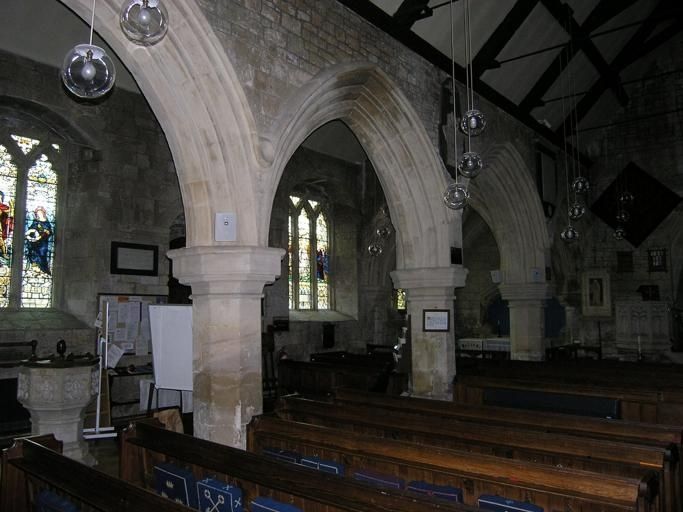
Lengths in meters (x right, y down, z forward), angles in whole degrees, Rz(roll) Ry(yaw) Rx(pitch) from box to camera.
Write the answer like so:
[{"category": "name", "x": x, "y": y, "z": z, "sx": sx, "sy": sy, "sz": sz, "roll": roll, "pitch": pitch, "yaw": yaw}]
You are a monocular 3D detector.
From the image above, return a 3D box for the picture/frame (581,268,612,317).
[{"category": "picture/frame", "x": 6.296, "y": 0.890, "z": 13.976, "sx": 0.652, "sy": 1.111, "sz": 0.264, "roll": -3, "pitch": -6, "yaw": 25}]

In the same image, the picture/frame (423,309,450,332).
[{"category": "picture/frame", "x": 1.333, "y": 0.883, "z": 7.905, "sx": 0.363, "sy": 0.318, "sz": 0.092, "roll": -2, "pitch": -6, "yaw": 9}]

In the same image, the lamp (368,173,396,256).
[{"category": "lamp", "x": 0.926, "y": -1.038, "z": 13.286, "sx": 0.652, "sy": 2.073, "sz": 2.113, "roll": -1, "pitch": -6, "yaw": 3}]

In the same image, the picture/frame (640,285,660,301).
[{"category": "picture/frame", "x": 7.533, "y": 0.877, "z": 13.769, "sx": 0.237, "sy": 0.268, "sz": 0.187, "roll": -5, "pitch": -26, "yaw": 14}]

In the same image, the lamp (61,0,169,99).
[{"category": "lamp", "x": -1.508, "y": -1.402, "z": 3.822, "sx": 0.661, "sy": 0.634, "sz": 0.282, "roll": -1, "pitch": -6, "yaw": 4}]

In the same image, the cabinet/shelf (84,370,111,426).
[{"category": "cabinet/shelf", "x": -2.837, "y": 1.650, "z": 6.560, "sx": 0.271, "sy": 0.901, "sz": 0.860, "roll": 1, "pitch": -3, "yaw": -22}]
